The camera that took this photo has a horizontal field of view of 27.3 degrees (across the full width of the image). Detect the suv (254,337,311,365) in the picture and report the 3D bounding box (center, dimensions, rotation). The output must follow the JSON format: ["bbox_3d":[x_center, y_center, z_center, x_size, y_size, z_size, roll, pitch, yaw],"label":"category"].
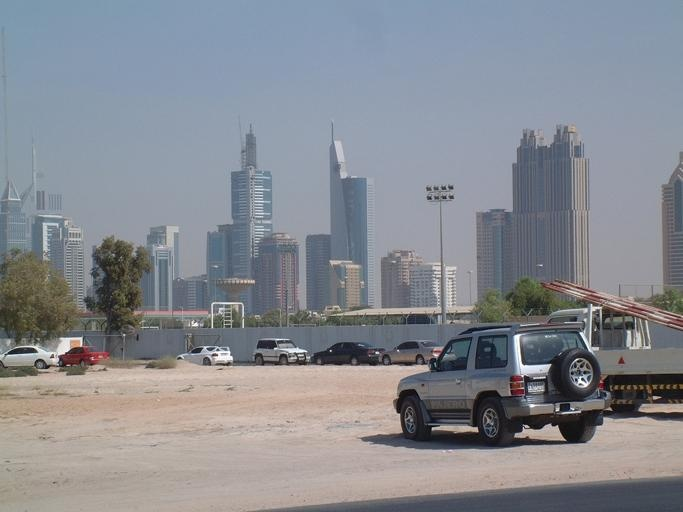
[{"bbox_3d":[-3.488,5.150,76.172,2.133,1.499,2.371,2,-7,-25],"label":"suv"}]

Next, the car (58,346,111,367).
[{"bbox_3d":[-14.549,5.494,76.949,1.547,1.193,3.926,-2,-6,10],"label":"car"}]

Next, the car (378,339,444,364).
[{"bbox_3d":[3.496,5.144,71.353,1.641,1.195,3.490,0,-2,-41],"label":"car"}]

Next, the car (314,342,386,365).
[{"bbox_3d":[0.277,5.201,74.839,4.805,1.242,1.043,-7,-9,44],"label":"car"}]

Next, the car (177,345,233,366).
[{"bbox_3d":[-7.544,5.551,77.931,2.440,1.151,2.990,4,-8,-35],"label":"car"}]

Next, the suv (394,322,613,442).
[{"bbox_3d":[4.360,3.530,39.728,3.040,2.741,4.985,1,1,-38],"label":"suv"}]
